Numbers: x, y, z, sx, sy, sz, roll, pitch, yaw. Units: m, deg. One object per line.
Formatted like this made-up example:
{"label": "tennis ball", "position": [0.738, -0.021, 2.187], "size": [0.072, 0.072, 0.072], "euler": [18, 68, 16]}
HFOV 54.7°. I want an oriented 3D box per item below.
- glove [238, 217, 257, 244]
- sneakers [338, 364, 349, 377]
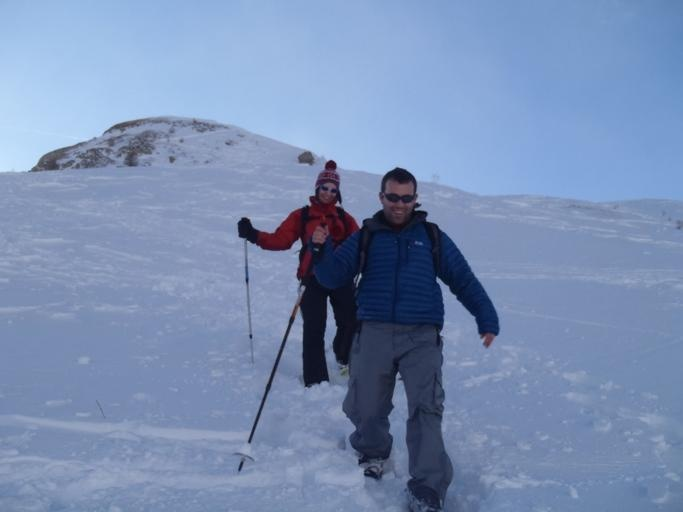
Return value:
{"label": "glove", "position": [-1.263, -0.335, 8.773], "size": [0.247, 0.330, 0.123], "euler": [-38, 14, -10]}
{"label": "sneakers", "position": [0.025, 1.629, 9.386], "size": [0.102, 0.133, 0.140], "euler": [2, -11, -6]}
